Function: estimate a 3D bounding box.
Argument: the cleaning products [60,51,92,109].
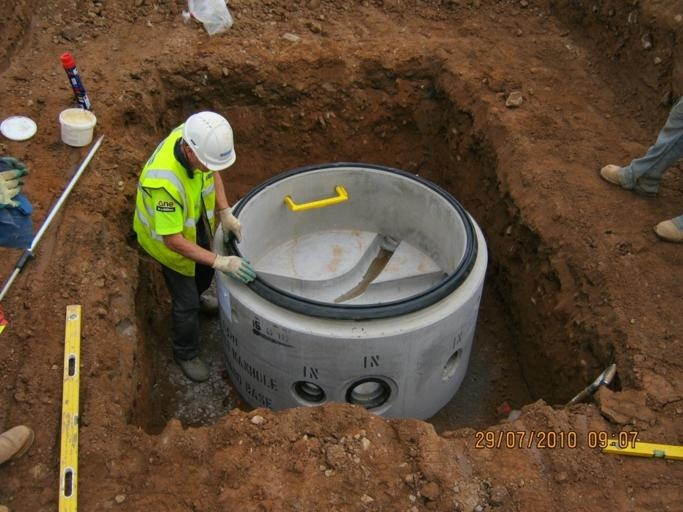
[{"bbox_3d":[-2.699,-1.794,8.181,0.346,0.600,0.298,28,39,22],"label":"cleaning products"}]

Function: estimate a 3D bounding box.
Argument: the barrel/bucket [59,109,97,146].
[{"bbox_3d":[-2.693,-1.235,8.244,0.348,0.278,0.361,9,47,-10],"label":"barrel/bucket"}]

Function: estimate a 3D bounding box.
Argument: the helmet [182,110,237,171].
[{"bbox_3d":[-1.166,-1.041,7.209,0.389,0.271,0.538,-32,82,-30],"label":"helmet"}]

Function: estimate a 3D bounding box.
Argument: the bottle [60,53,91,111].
[{"bbox_3d":[-2.688,-1.817,8.141,0.352,0.604,0.299,30,40,24],"label":"bottle"}]

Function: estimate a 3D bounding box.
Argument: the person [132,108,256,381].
[{"bbox_3d":[-1.495,-0.138,7.990,1.014,2.802,1.449,0,43,-6],"label":"person"}]
